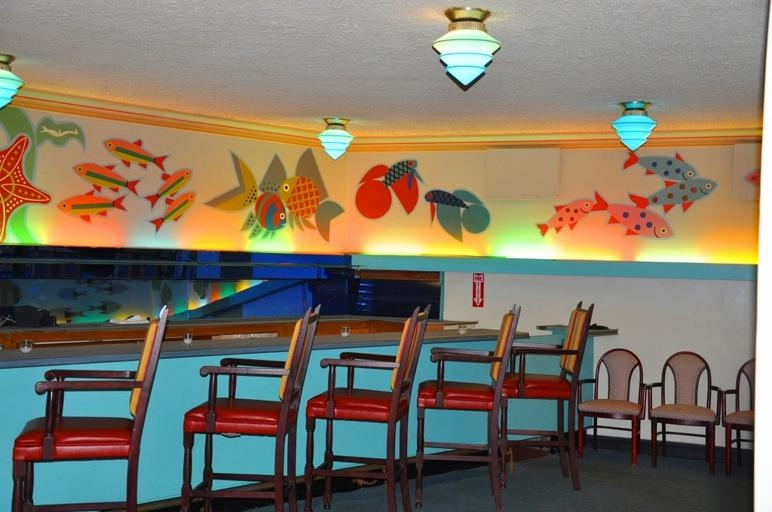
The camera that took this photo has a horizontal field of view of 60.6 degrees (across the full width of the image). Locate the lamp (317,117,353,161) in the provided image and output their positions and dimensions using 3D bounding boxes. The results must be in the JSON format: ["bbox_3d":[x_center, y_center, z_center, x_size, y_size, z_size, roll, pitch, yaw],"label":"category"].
[{"bbox_3d":[-0.666,-1.569,8.880,0.602,0.497,0.560,0,0,-1],"label":"lamp"}]

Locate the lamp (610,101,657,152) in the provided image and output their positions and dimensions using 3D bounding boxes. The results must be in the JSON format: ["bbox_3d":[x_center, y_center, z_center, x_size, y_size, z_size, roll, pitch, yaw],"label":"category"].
[{"bbox_3d":[2.798,-1.498,7.720,0.627,0.498,0.552,2,1,12],"label":"lamp"}]

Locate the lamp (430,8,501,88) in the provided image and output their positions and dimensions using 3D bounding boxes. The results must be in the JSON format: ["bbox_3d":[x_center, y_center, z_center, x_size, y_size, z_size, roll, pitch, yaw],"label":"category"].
[{"bbox_3d":[0.653,-1.688,5.448,0.641,0.466,0.557,0,2,8],"label":"lamp"}]
